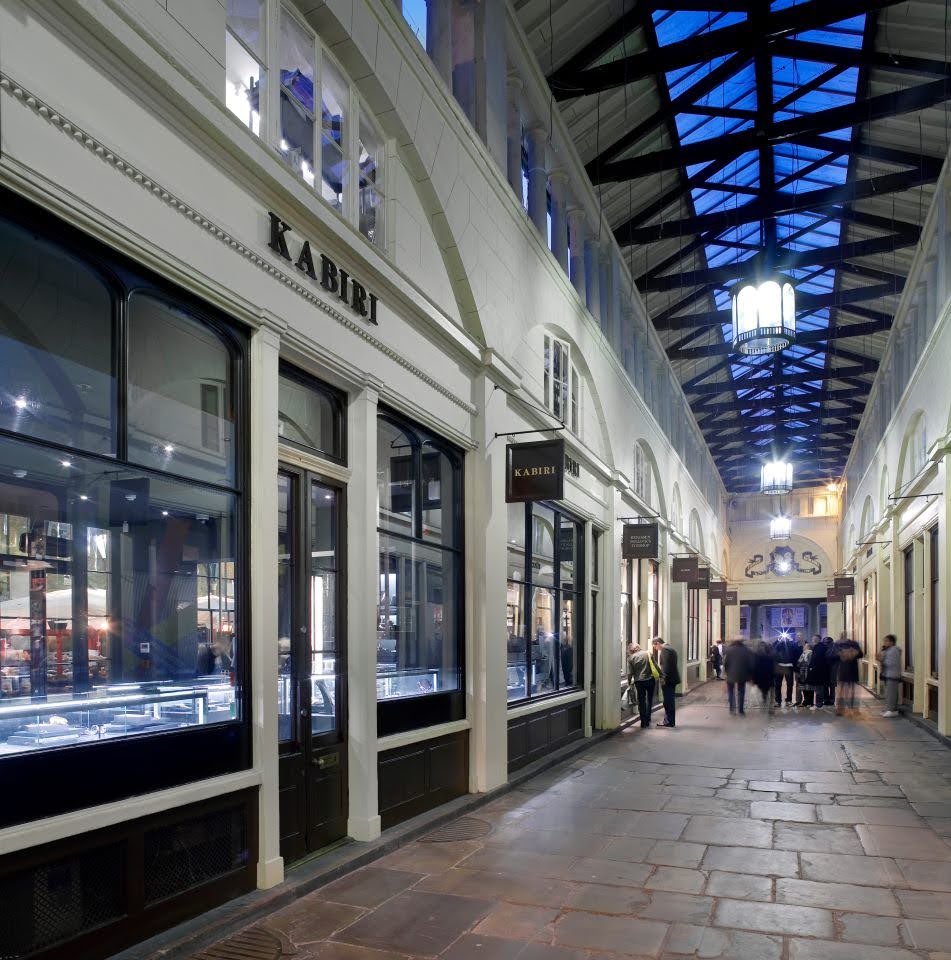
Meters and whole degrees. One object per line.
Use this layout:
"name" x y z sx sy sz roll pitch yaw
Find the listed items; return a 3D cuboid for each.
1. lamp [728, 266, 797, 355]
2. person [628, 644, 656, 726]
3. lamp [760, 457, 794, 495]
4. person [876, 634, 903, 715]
"lamp" 5.164 -2.988 15.981 1.022 1.493 1.242 0 -20 12
"person" 3.045 3.764 15.940 0.455 1.452 1.047 -1 -7 13
"lamp" 11.047 -0.316 32.100 1.203 1.869 1.399 1 -6 21
"person" 8.744 4.057 18.374 0.398 1.669 3.981 -2 -9 26
